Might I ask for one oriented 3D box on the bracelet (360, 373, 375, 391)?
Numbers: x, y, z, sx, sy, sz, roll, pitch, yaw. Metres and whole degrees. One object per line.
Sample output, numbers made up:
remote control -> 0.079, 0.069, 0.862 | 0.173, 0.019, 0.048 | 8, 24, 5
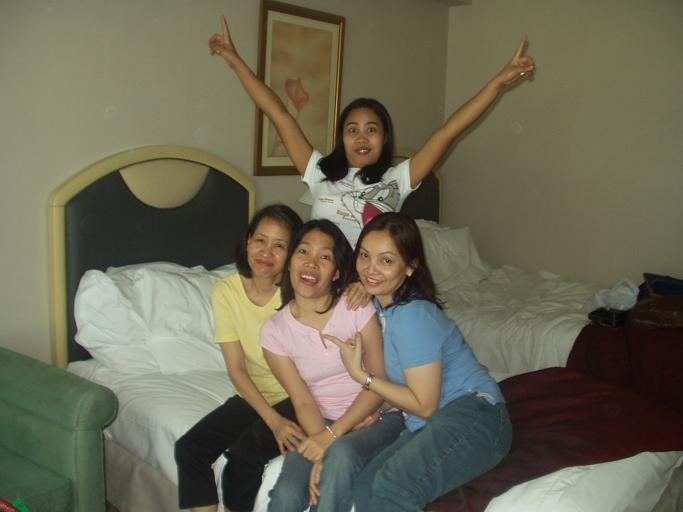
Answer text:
bracelet -> 0.090, 0.418, 1.743 | 0.035, 0.053, 0.054 | 26, -3, 19

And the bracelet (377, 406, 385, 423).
bracelet -> 0.142, 0.570, 1.892 | 0.027, 0.037, 0.015 | 14, -31, -32

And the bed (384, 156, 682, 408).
bed -> 1.132, 0.168, 3.319 | 1.322, 0.890, 0.810 | 21, 53, 33
